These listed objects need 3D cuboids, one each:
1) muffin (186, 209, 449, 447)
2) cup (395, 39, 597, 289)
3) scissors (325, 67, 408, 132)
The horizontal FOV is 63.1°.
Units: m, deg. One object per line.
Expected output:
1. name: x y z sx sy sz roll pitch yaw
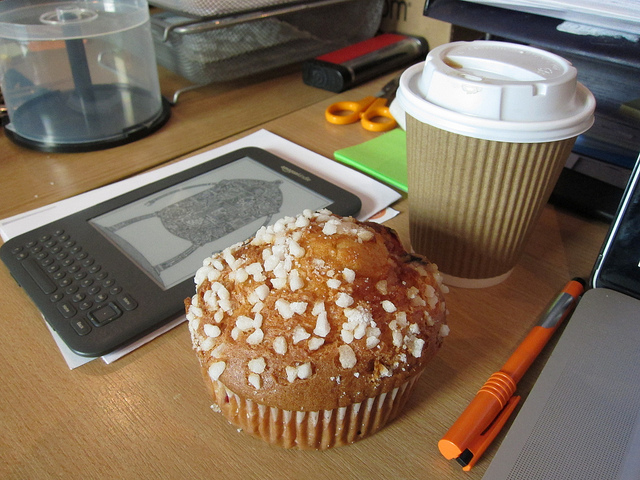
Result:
1. muffin: -0.005 0.074 0.539 0.266 0.134 0.221 -8 37 -8
2. cup: 0.136 -0.103 0.654 0.297 0.275 0.248 -3 39 -6
3. scissors: 0.101 -0.261 0.941 0.104 0.017 0.166 17 37 31
